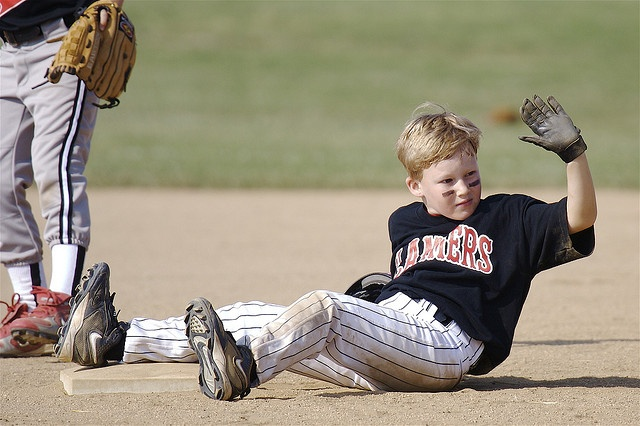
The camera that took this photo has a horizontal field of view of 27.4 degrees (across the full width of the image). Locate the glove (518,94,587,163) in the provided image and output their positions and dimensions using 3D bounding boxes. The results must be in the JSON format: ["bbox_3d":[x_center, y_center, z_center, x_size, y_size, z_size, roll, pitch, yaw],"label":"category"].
[{"bbox_3d":[1.612,-0.536,9.522,0.525,0.246,0.710,13,-15,-3],"label":"glove"}]
